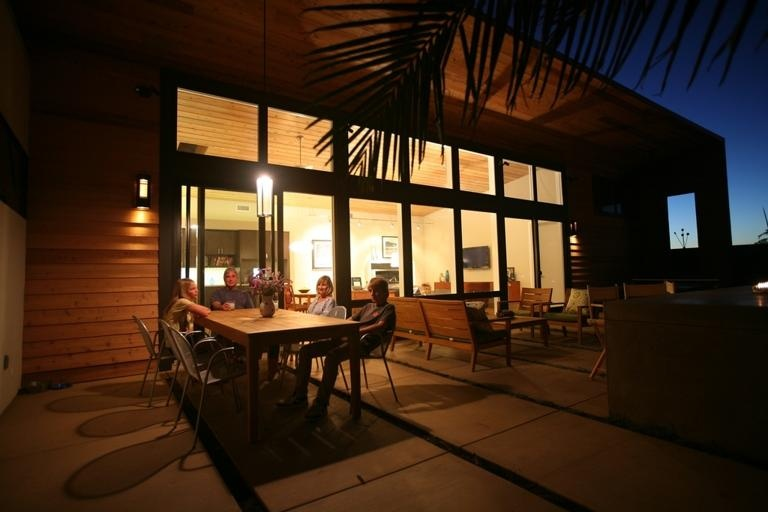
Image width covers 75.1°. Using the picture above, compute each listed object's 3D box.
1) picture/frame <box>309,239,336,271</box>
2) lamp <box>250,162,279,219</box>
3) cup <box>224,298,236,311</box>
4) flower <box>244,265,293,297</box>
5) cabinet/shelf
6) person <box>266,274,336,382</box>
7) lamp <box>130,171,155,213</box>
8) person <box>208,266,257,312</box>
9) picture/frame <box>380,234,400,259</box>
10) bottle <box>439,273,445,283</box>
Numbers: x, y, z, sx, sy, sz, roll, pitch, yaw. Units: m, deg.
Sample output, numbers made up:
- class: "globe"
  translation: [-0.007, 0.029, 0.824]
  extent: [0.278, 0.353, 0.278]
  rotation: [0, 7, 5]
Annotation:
- class: "picture/frame"
  translation: [-1.592, -0.029, 12.391]
  extent: [0.796, 0.910, 0.093]
  rotation: [4, -8, -29]
- class: "lamp"
  translation: [-1.586, -0.788, 6.557]
  extent: [0.223, 0.513, 0.271]
  rotation: [-5, 13, -18]
- class: "cup"
  translation: [-2.060, 0.657, 6.635]
  extent: [0.115, 0.122, 0.211]
  rotation: [-3, 2, 3]
- class: "flower"
  translation: [-1.420, 0.317, 6.114]
  extent: [0.582, 0.404, 0.583]
  rotation: [0, 4, -18]
- class: "cabinet/shelf"
  translation: [-2.794, 0.398, 9.164]
  extent: [1.068, 1.124, 1.343]
  rotation: [-3, 1, 36]
- class: "person"
  translation: [-1.149, 0.980, 7.141]
  extent: [1.229, 1.696, 1.071]
  rotation: [6, -8, -29]
- class: "lamp"
  translation: [-3.364, -0.897, 6.918]
  extent: [0.193, 0.464, 0.147]
  rotation: [2, -1, -31]
- class: "person"
  translation: [-2.041, 0.492, 6.981]
  extent: [0.691, 0.738, 0.515]
  rotation: [4, -12, -34]
- class: "picture/frame"
  translation: [0.127, -0.262, 14.336]
  extent: [0.722, 0.796, 0.054]
  rotation: [2, -4, -34]
- class: "bottle"
  translation: [1.684, 0.648, 14.495]
  extent: [0.177, 0.240, 0.179]
  rotation: [-2, -7, 0]
